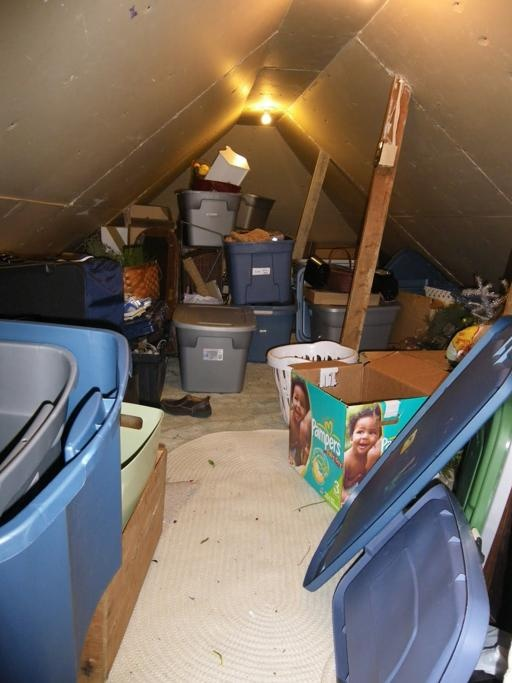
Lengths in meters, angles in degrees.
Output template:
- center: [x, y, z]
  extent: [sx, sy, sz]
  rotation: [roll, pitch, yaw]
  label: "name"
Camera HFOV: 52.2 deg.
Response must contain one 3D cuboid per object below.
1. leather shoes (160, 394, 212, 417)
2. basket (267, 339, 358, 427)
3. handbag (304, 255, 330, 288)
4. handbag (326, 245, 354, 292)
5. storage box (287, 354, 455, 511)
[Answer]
- center: [-0.309, 0.291, 2.370]
  extent: [0.236, 0.096, 0.093]
  rotation: [7, 1, -1]
  label: "leather shoes"
- center: [0.243, 0.192, 2.217]
  extent: [0.426, 0.386, 0.378]
  rotation: [-10, 2, -10]
  label: "basket"
- center: [0.381, -0.435, 3.329]
  extent: [0.102, 0.181, 0.187]
  rotation: [-8, 39, -21]
  label: "handbag"
- center: [0.574, -0.446, 3.274]
  extent: [0.138, 0.250, 0.406]
  rotation: [-6, 11, 5]
  label: "handbag"
- center: [0.316, 0.287, 1.752]
  extent: [0.439, 0.334, 0.476]
  rotation: [9, 16, 12]
  label: "storage box"
